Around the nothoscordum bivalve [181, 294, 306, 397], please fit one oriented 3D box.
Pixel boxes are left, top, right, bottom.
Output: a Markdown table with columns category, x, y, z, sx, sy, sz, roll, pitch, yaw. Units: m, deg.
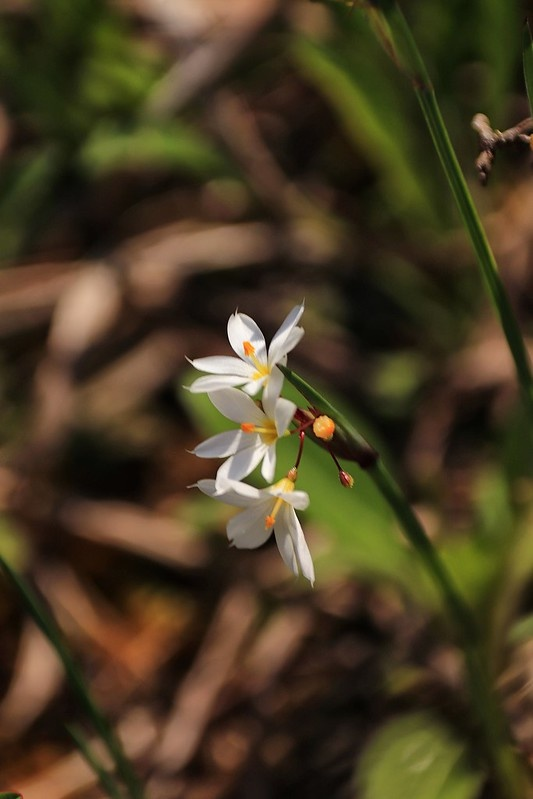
| category | x | y | z | sx | sy | sz | roll | pitch | yaw |
| --- | --- | --- | --- | --- | --- | --- | --- | --- | --- |
| nothoscordum bivalve | -0.002 | -0.035 | 0.626 | 0.120 | 0.115 | 0.043 | 5 | 81 | -5 |

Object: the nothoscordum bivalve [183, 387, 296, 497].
| category | x | y | z | sx | sy | sz | roll | pitch | yaw |
| --- | --- | --- | --- | --- | --- | --- | --- | --- | --- |
| nothoscordum bivalve | -0.005 | 0.026 | 0.621 | 0.068 | 0.117 | 0.156 | 1 | 6 | 16 |
